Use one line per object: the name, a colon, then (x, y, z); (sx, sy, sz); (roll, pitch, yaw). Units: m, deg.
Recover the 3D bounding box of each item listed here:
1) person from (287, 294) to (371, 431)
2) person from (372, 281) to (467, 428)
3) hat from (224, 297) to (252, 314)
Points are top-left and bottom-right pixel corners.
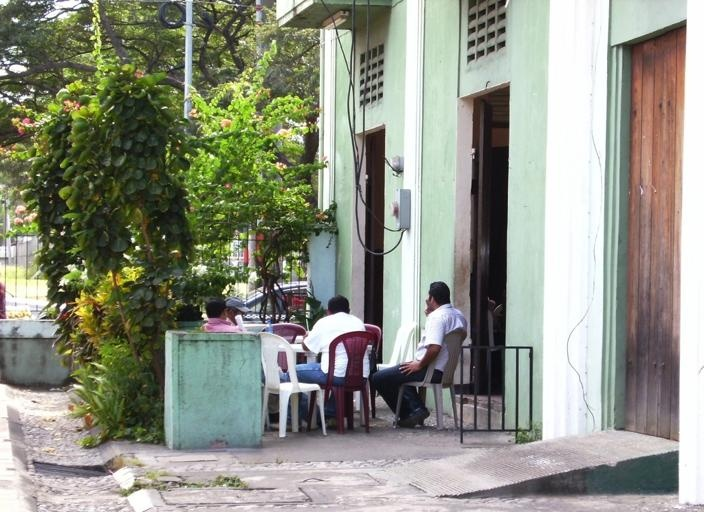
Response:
person: (-0.298, 1.201, 14.545); (0.975, 1.442, 0.829); (-6, -6, 34)
person: (0.830, 1.194, 14.727); (1.082, 1.690, 0.540); (-6, -6, 36)
hat: (-1.459, 0.641, 15.794); (0.257, 0.113, 0.184); (27, -1, -23)
